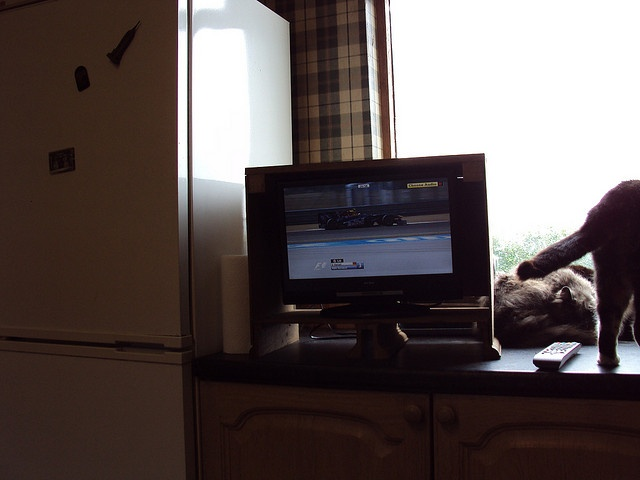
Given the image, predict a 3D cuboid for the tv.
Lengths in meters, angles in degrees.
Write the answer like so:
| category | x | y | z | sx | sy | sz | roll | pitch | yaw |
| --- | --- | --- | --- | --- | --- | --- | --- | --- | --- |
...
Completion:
| category | x | y | z | sx | sy | sz | roll | pitch | yaw |
| --- | --- | --- | --- | --- | --- | --- | --- | --- | --- |
| tv | 0.164 | 0.066 | 2.038 | 0.640 | 0.559 | 0.285 | -1 | 2 | 8 |
